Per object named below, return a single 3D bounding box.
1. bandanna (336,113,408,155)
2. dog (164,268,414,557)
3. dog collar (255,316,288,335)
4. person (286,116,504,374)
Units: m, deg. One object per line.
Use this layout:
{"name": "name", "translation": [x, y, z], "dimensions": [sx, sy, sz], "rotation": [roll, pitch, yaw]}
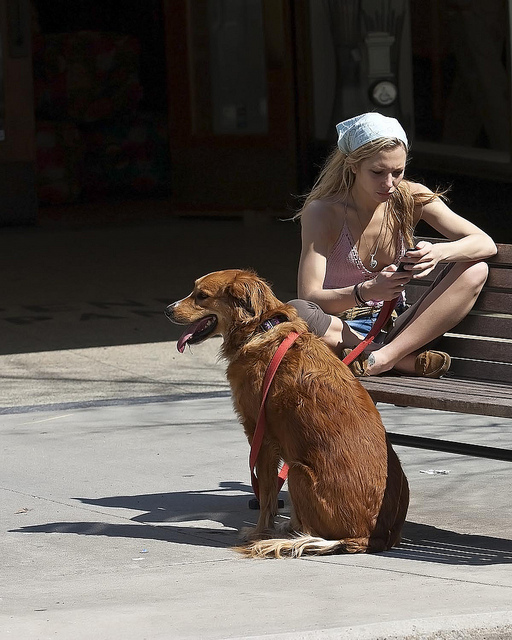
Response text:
{"name": "bandanna", "translation": [0.453, -0.747, 3.634], "dimensions": [0.207, 0.091, 0.230], "rotation": [-4, -7, -20]}
{"name": "dog", "translation": [0.131, 0.332, 3.337], "dimensions": [0.721, 1.044, 0.315], "rotation": [-2, 3, 31]}
{"name": "dog collar", "translation": [0.059, 0.015, 3.284], "dimensions": [0.068, 0.029, 0.087], "rotation": [-20, -10, -42]}
{"name": "person", "translation": [0.463, -0.284, 3.739], "dimensions": [0.854, 0.867, 0.871], "rotation": [15, 27, 39]}
